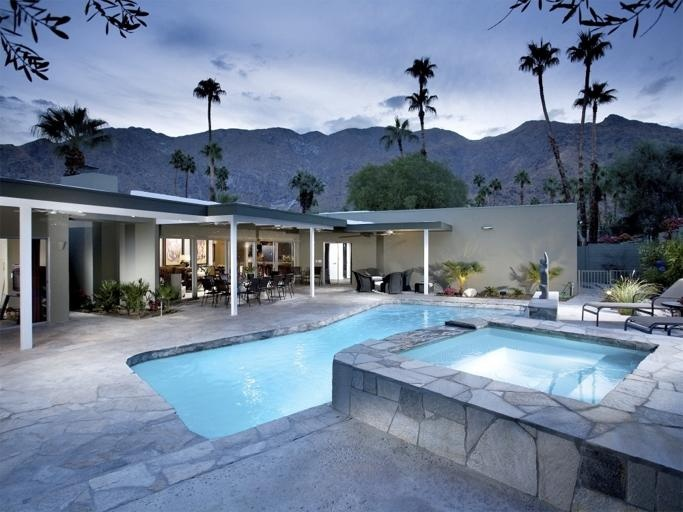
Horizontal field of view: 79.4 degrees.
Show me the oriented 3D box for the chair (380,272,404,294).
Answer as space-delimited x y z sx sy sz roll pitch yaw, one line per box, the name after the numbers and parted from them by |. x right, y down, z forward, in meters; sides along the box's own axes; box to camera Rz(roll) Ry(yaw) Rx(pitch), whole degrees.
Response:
1.866 0.982 15.540 0.626 0.916 0.816 0 5 -27 | chair

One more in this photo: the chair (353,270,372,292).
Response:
0.828 0.982 16.330 0.679 0.739 0.746 -1 -1 2 | chair
